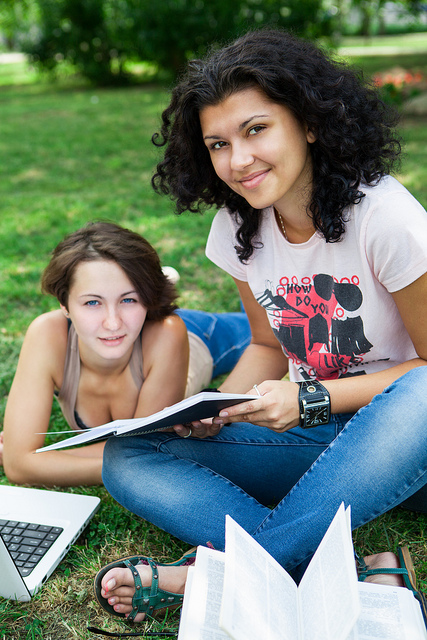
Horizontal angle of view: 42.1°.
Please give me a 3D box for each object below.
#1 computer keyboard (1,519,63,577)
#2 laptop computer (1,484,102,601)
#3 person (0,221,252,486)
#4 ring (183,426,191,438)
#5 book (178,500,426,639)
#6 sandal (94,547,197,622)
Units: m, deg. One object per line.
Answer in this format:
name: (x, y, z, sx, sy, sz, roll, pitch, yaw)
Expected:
computer keyboard: (-0.602, 0.688, 1.692, 0.206, 0.042, 0.191, 5, 18, 14)
laptop computer: (-0.584, 0.657, 1.740, 0.375, 0.290, 0.259, 4, -1, 24)
person: (-0.356, 0.056, 2.537, 0.932, 0.614, 1.296, 0, 9, 26)
ring: (-0.084, 0.350, 1.747, 0.012, 0.045, 0.048, 4, -2, -18)
book: (0.182, 0.569, 1.262, 0.375, 0.132, 0.341, 4, 15, -4)
sandal: (-0.157, 0.677, 1.513, 0.350, 0.134, 0.090, -10, 4, -33)
